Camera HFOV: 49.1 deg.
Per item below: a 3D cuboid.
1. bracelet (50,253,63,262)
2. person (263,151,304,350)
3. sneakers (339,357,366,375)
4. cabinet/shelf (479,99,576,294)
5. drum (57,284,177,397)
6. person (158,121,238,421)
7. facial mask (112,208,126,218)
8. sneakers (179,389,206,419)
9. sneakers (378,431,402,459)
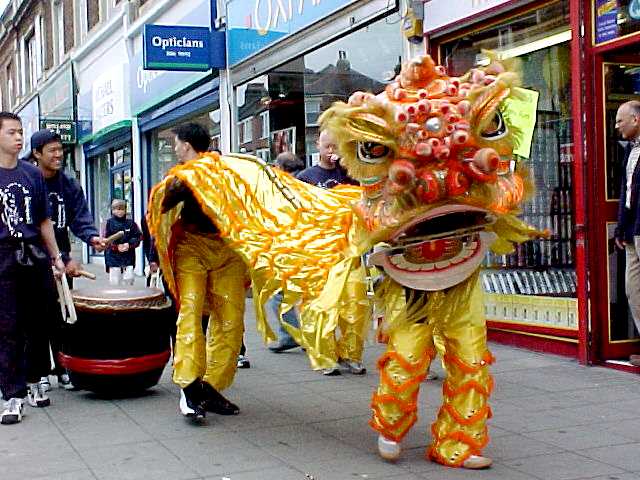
[{"bbox_3d":[-1.966,0.126,5.167,0.071,0.030,0.051,-13,8,33],"label":"bracelet"},{"bbox_3d":[-0.313,0.287,6.881,0.514,1.553,0.438,1,15,4],"label":"person"},{"bbox_3d":[0.240,1.068,6.083,0.126,0.143,0.355,-1,0,-35],"label":"sneakers"},{"bbox_3d":[2.137,-0.322,6.582,0.557,1.610,1.209,-7,6,-44],"label":"cabinet/shelf"},{"bbox_3d":[-1.660,0.755,5.550,0.907,0.651,0.896,2,4,0],"label":"drum"},{"bbox_3d":[-0.823,0.204,4.740,0.564,2.028,0.580,-1,3,13],"label":"person"},{"bbox_3d":[-2.723,-0.356,9.417,0.184,0.113,0.192,-4,4,-30],"label":"facial mask"},{"bbox_3d":[-0.868,1.097,4.727,0.163,0.243,0.240,-3,3,-9],"label":"sneakers"},{"bbox_3d":[0.383,1.166,3.983,0.168,0.152,0.133,0,2,5],"label":"sneakers"}]
